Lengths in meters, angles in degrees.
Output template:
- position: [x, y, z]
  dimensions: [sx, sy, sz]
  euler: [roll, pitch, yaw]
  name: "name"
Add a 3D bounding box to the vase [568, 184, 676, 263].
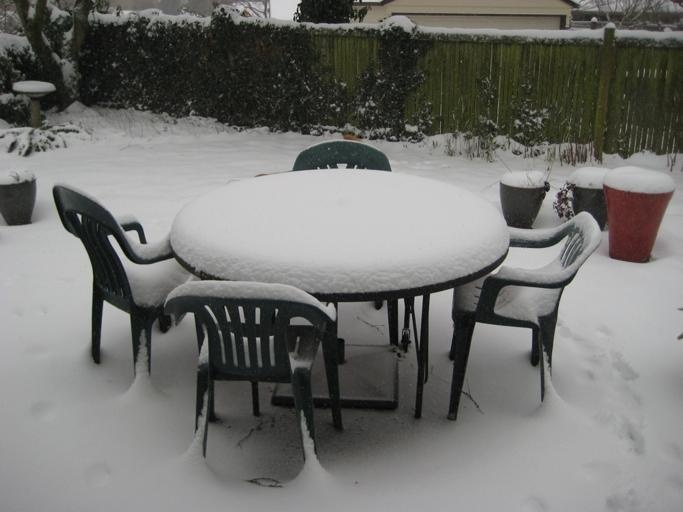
- position: [2.573, -0.425, 5.656]
  dimensions: [0.566, 0.899, 0.649]
  euler: [4, 10, 23]
  name: "vase"
